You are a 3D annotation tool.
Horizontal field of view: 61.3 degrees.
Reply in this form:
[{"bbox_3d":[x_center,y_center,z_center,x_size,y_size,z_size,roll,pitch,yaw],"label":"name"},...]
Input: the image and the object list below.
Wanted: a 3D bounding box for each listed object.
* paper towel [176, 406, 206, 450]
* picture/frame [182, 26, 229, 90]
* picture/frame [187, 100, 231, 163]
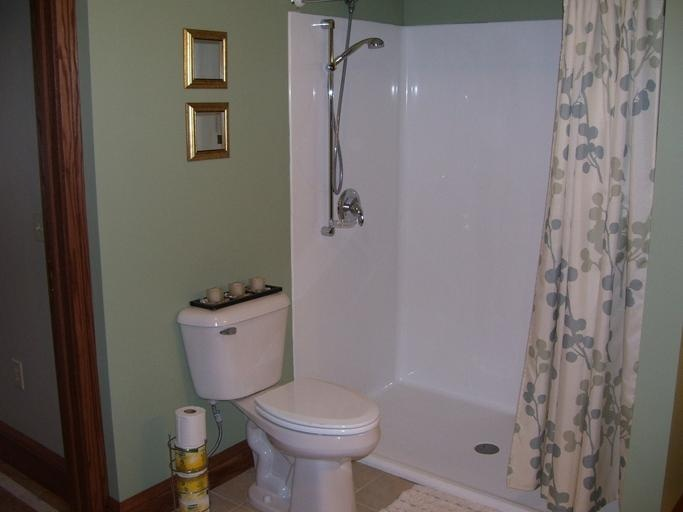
[{"bbox_3d":[-0.664,0.753,2.525,0.129,0.150,0.140,3,5,13],"label":"paper towel"},{"bbox_3d":[-0.605,-0.865,2.515,0.028,0.298,0.262,4,6,43],"label":"picture/frame"},{"bbox_3d":[-0.602,-0.557,2.567,0.028,0.309,0.246,8,10,41],"label":"picture/frame"}]
